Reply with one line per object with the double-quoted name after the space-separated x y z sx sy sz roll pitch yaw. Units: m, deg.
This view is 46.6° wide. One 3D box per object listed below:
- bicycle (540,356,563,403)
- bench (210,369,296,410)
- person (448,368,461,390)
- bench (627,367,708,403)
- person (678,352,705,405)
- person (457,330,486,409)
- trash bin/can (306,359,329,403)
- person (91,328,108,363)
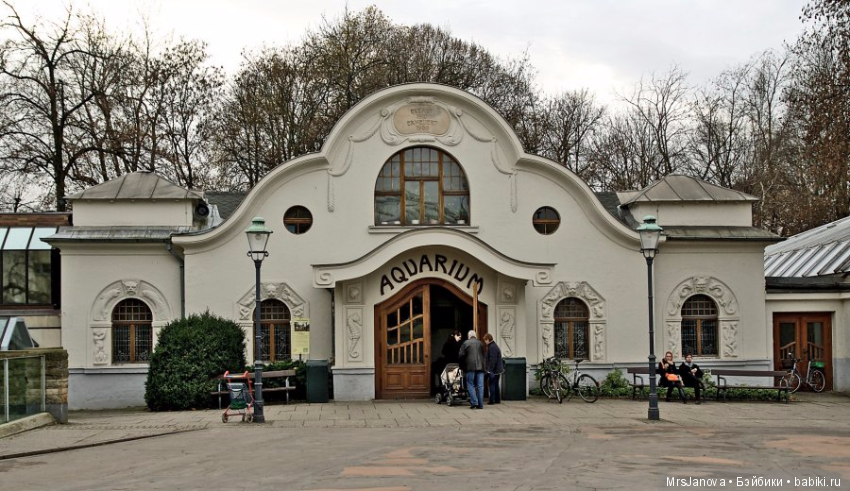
5.821 6.309 46.272 0.707 2.154 1.527 2 -14 -9 "bicycle"
-7.735 6.530 44.944 3.479 1.362 1.155 -3 5 -3 "bench"
1.336 5.997 44.654 0.629 0.820 0.308 4 2 -8 "person"
11.494 6.773 47.211 4.286 1.562 1.310 6 -7 -26 "bench"
12.233 6.152 45.908 0.885 2.315 1.448 -10 -17 36 "person"
2.024 5.543 44.381 1.178 3.510 0.923 -1 -14 5 "person"
-4.997 6.242 45.484 1.054 1.924 0.846 3 -14 -11 "trash bin/can"
-15.516 4.766 47.204 0.692 1.688 0.313 0 -14 2 "person"
